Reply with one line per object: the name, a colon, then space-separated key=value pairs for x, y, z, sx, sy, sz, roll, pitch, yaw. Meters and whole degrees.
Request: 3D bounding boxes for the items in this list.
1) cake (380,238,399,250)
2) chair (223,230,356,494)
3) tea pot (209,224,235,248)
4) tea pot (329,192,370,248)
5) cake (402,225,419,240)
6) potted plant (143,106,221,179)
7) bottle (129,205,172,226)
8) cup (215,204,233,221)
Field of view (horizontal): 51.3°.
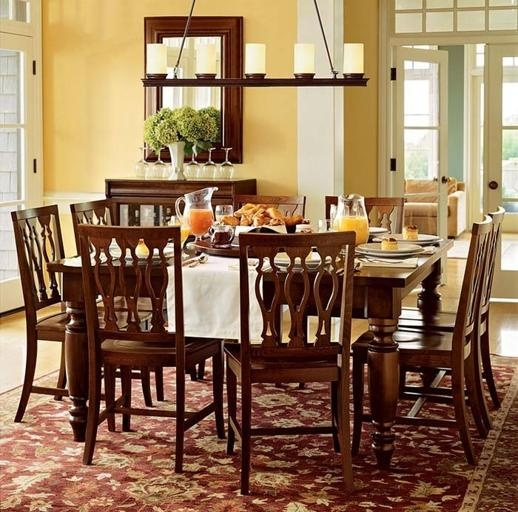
cake: x=0.550 y=-0.053 z=2.260 sx=0.052 sy=0.038 sz=0.053 roll=0 pitch=5 yaw=2
chair: x=0.125 y=0.347 z=1.911 sx=0.501 sy=0.853 sz=0.725 roll=0 pitch=1 yaw=-3
tea pot: x=-0.166 y=-0.098 z=2.371 sx=0.112 sy=0.097 sz=0.071 roll=0 pitch=1 yaw=-10
tea pot: x=0.390 y=-0.164 z=2.378 sx=0.162 sy=0.228 sz=0.226 roll=3 pitch=5 yaw=19
cake: x=0.736 y=-0.111 z=2.633 sx=0.072 sy=0.070 sz=0.071 roll=0 pitch=-2 yaw=21
potted plant: x=-0.570 y=-0.875 z=4.568 sx=0.662 sy=0.669 sz=0.577 roll=1 pitch=7 yaw=8
bottle: x=-0.823 y=-0.319 z=4.147 sx=0.261 sy=0.182 sz=0.140 roll=2 pitch=10 yaw=7
cup: x=-0.172 y=-0.211 z=2.633 sx=0.083 sy=0.080 sz=0.084 roll=0 pitch=0 yaw=0
